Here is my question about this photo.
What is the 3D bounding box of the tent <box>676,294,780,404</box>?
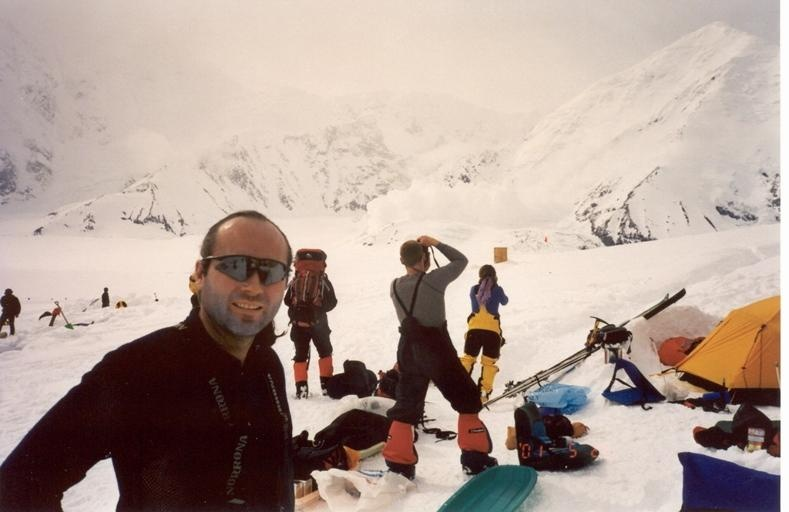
[{"bbox_3d":[8.487,2.353,16.684,3.250,2.206,0.827,0,-2,-2],"label":"tent"}]
